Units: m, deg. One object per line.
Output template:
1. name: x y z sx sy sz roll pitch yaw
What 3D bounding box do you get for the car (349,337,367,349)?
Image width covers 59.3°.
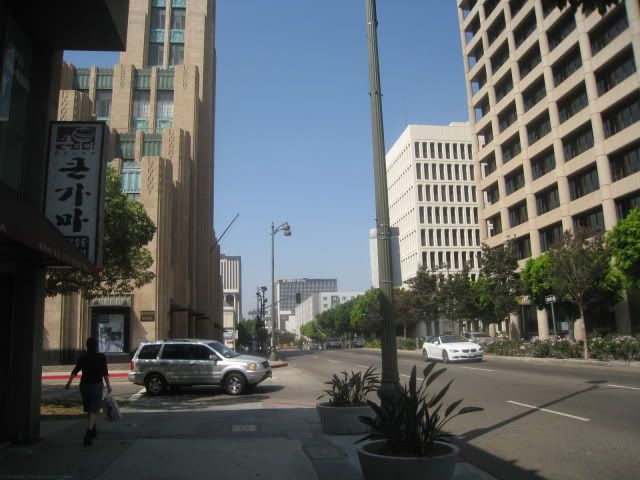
1. car: 6.332 16.974 91.967 1.361 1.200 3.075 0 -17 -5

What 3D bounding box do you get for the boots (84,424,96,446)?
1. boots: -5.322 4.570 13.092 0.208 0.337 0.684 1 -1 -2
